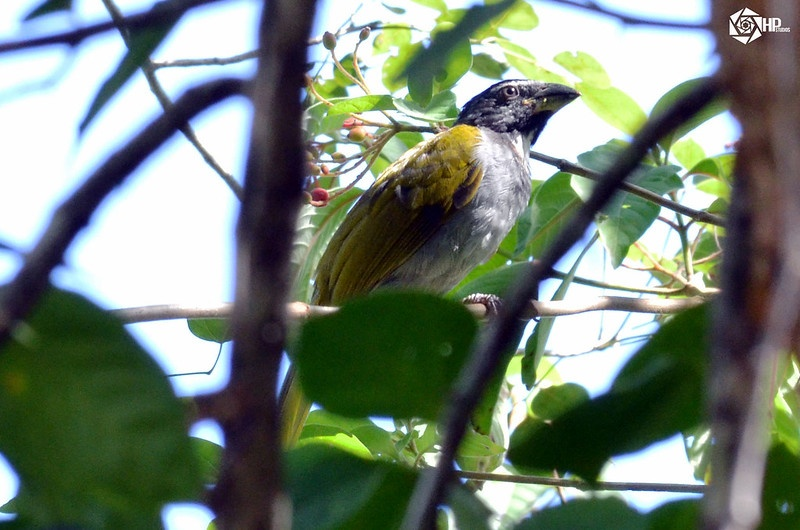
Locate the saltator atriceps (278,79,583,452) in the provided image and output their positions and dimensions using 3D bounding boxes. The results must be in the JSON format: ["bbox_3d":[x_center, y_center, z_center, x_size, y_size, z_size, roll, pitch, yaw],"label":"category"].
[{"bbox_3d":[0.258,-0.455,4.910,1.229,1.632,0.549,3,-42,9],"label":"saltator atriceps"}]
